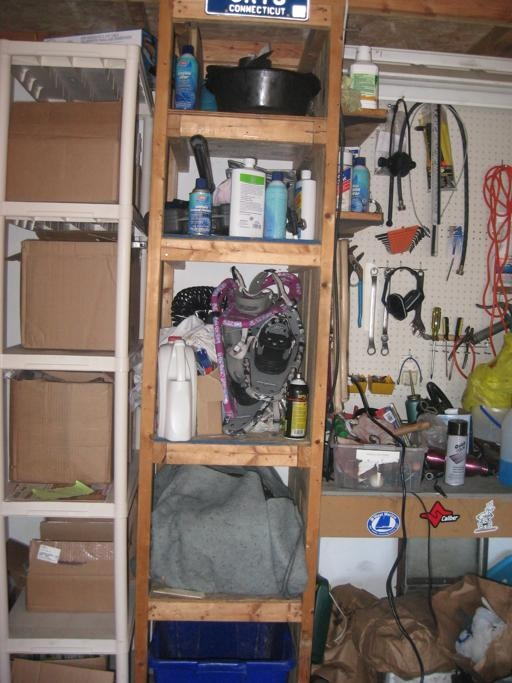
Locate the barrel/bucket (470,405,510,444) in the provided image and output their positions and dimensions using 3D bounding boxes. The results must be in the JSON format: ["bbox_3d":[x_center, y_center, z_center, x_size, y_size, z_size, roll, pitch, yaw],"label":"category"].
[{"bbox_3d":[0.824,0.295,2.227,0.110,0.120,0.126,2,-6,-21],"label":"barrel/bucket"}]

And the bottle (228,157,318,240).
[{"bbox_3d":[0.047,-0.409,1.829,0.324,0.330,0.179,0,1,-13],"label":"bottle"}]

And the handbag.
[{"bbox_3d":[-0.105,0.505,1.938,0.440,0.346,0.383,0,12,-7],"label":"handbag"}]

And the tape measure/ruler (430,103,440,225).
[{"bbox_3d":[0.649,-0.637,2.262,0.033,0.428,0.041,2,8,17],"label":"tape measure/ruler"}]

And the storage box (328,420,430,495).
[{"bbox_3d":[0.383,0.361,2.069,0.322,0.196,0.264,0,14,-5],"label":"storage box"}]

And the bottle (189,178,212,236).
[{"bbox_3d":[-0.160,-0.378,1.761,0.063,0.155,0.045,-2,8,-7],"label":"bottle"}]

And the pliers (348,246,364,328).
[{"bbox_3d":[0.374,-0.196,2.273,0.067,0.286,0.029,0,16,6],"label":"pliers"}]

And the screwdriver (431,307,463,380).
[{"bbox_3d":[0.702,0.009,2.335,0.122,0.271,0.031,3,-2,2],"label":"screwdriver"}]

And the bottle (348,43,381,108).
[{"bbox_3d":[0.342,-0.823,1.966,0.096,0.194,0.119,-4,15,-12],"label":"bottle"}]

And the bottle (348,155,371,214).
[{"bbox_3d":[0.324,-0.477,1.959,0.056,0.153,0.135,0,8,8],"label":"bottle"}]

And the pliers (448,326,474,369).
[{"bbox_3d":[0.764,0.020,2.339,0.077,0.153,0.049,9,11,0],"label":"pliers"}]

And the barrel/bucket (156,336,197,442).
[{"bbox_3d":[-0.226,0.128,1.792,0.105,0.295,0.146,2,1,19],"label":"barrel/bucket"}]
